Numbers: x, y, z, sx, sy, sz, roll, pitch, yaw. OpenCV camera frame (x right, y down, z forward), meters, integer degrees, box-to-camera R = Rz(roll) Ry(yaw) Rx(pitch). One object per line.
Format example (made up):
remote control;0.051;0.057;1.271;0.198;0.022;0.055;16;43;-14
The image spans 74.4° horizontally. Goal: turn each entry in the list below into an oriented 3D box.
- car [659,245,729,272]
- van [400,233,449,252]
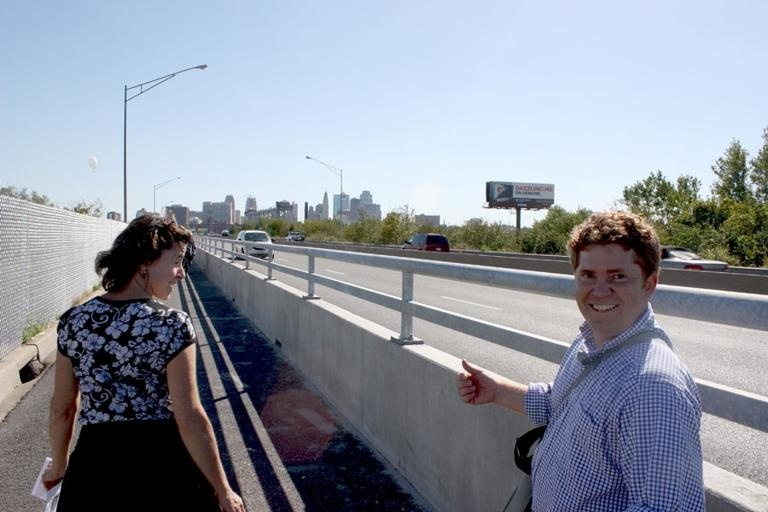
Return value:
car;11.162;0.120;18.102;0.792;0.700;2.032;2;6;-9
van;2.364;-0.797;29.468;2.826;0.951;1.674;5;5;44
